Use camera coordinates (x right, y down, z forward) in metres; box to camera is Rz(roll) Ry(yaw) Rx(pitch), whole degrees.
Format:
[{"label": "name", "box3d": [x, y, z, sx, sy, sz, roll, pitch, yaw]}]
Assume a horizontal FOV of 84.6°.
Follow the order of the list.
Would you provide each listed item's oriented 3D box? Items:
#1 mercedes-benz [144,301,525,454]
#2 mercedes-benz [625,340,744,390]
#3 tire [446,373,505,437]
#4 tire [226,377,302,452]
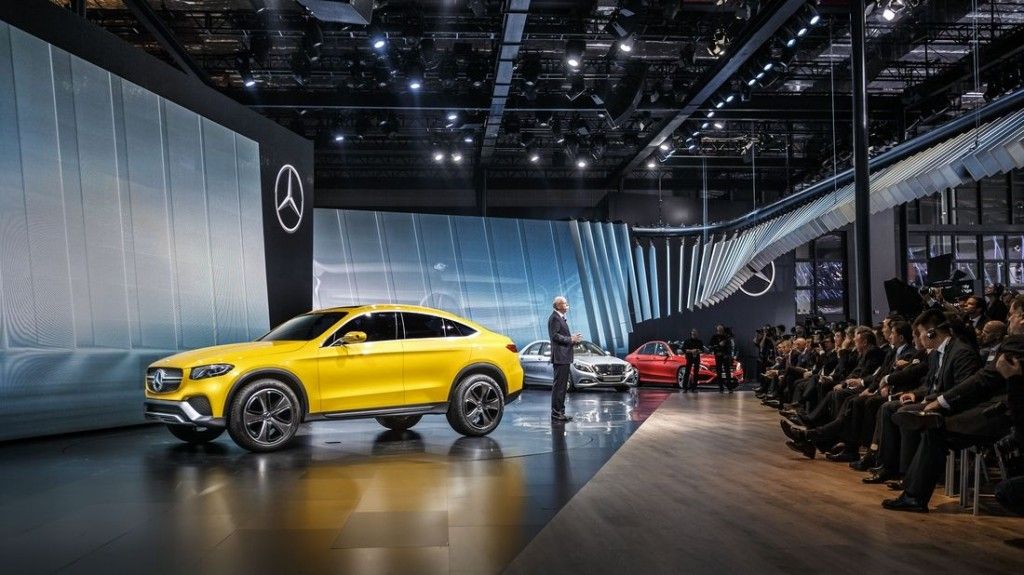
[{"label": "mercedes-benz", "box3d": [-3.147, 1.716, 10.549, 5.530, 2.106, 2.950, 6, -11, -23]}, {"label": "mercedes-benz", "box3d": [6.138, 3.046, 21.976, 2.066, 1.569, 4.757, 5, -11, -35]}, {"label": "tire", "box3d": [-0.509, 2.283, 10.726, 1.189, 1.189, 0.449, -7, -10, 31]}, {"label": "tire", "box3d": [-4.030, 2.173, 9.403, 1.257, 1.252, 0.448, -6, -6, 13]}]
